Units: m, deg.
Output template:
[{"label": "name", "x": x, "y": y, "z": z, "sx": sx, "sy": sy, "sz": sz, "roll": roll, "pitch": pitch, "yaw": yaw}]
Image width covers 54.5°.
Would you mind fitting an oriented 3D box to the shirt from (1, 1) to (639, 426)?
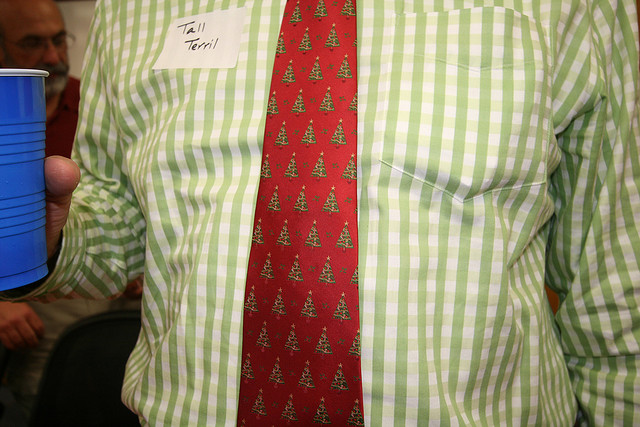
[{"label": "shirt", "x": 0.048, "y": -0.014, "z": 1.142, "sx": 0.821, "sy": 0.851, "sz": 0.476, "roll": 0, "pitch": 0, "yaw": 10}]
